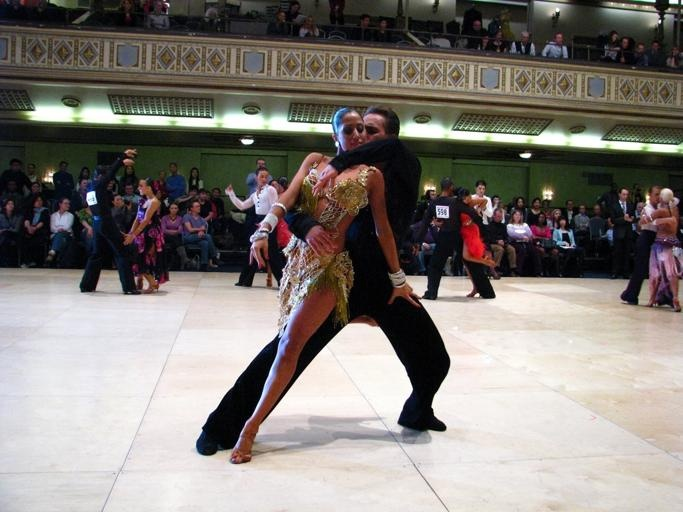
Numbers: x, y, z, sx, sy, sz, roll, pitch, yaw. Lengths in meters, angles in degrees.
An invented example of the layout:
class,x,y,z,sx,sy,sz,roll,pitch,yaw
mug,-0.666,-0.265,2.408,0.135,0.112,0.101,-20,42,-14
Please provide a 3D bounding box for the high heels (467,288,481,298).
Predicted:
class,x,y,z,sx,sy,sz,roll,pitch,yaw
high heels,2.258,0.654,10.364,0.346,0.176,0.105,-1,-2,-2

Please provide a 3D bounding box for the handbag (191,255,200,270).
class,x,y,z,sx,sy,sz,roll,pitch,yaw
handbag,-3.367,0.154,13.899,0.223,0.317,0.315,2,-14,-9

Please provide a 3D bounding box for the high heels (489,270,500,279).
class,x,y,z,sx,sy,sz,roll,pitch,yaw
high heels,3.562,0.451,13.910,0.130,0.163,0.364,-2,-4,0

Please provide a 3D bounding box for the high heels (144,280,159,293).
class,x,y,z,sx,sy,sz,roll,pitch,yaw
high heels,-3.012,0.512,9.573,0.119,0.133,0.312,-6,-20,7

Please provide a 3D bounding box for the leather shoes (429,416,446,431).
class,x,y,z,sx,sy,sz,roll,pitch,yaw
leather shoes,0.651,1.140,4.105,0.123,0.117,0.074,-1,4,-3

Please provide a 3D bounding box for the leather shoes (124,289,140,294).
class,x,y,z,sx,sy,sz,roll,pitch,yaw
leather shoes,-3.217,0.553,9.236,0.192,0.080,0.077,-4,-3,24

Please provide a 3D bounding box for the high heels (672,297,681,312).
class,x,y,z,sx,sy,sz,roll,pitch,yaw
high heels,5.246,0.756,9.349,0.114,0.194,0.434,7,9,32

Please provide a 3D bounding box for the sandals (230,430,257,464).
class,x,y,z,sx,sy,sz,roll,pitch,yaw
sandals,-0.580,1.155,3.626,0.089,0.258,0.106,17,-13,-4

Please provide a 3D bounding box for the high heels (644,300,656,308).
class,x,y,z,sx,sy,sz,roll,pitch,yaw
high heels,5.079,0.770,9.805,0.155,0.107,0.512,6,8,29

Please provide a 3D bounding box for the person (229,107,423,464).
class,x,y,z,sx,sy,sz,roll,pitch,yaw
person,-0.143,0.295,3.732,1.098,1.840,0.334,-1,8,-18

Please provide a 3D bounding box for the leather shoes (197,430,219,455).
class,x,y,z,sx,sy,sz,roll,pitch,yaw
leather shoes,-0.822,1.146,3.687,0.080,0.162,0.169,7,-1,-5
